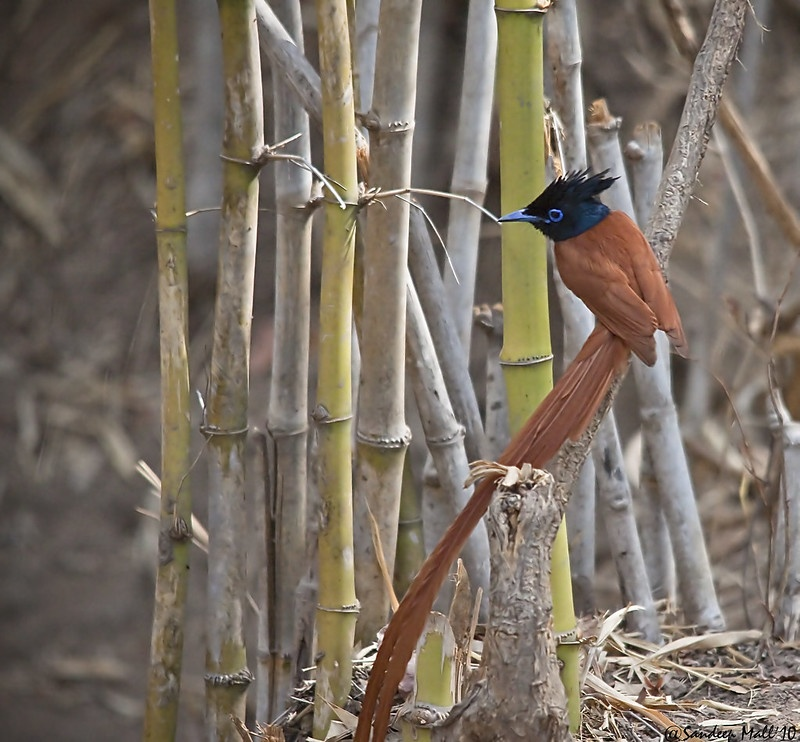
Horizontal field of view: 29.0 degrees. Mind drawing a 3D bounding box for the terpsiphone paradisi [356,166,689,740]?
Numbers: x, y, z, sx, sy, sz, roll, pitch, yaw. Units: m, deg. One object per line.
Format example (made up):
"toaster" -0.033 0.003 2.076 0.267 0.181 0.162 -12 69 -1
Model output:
"terpsiphone paradisi" 0.222 0.169 2.858 0.281 1.053 0.181 15 -1 -20
